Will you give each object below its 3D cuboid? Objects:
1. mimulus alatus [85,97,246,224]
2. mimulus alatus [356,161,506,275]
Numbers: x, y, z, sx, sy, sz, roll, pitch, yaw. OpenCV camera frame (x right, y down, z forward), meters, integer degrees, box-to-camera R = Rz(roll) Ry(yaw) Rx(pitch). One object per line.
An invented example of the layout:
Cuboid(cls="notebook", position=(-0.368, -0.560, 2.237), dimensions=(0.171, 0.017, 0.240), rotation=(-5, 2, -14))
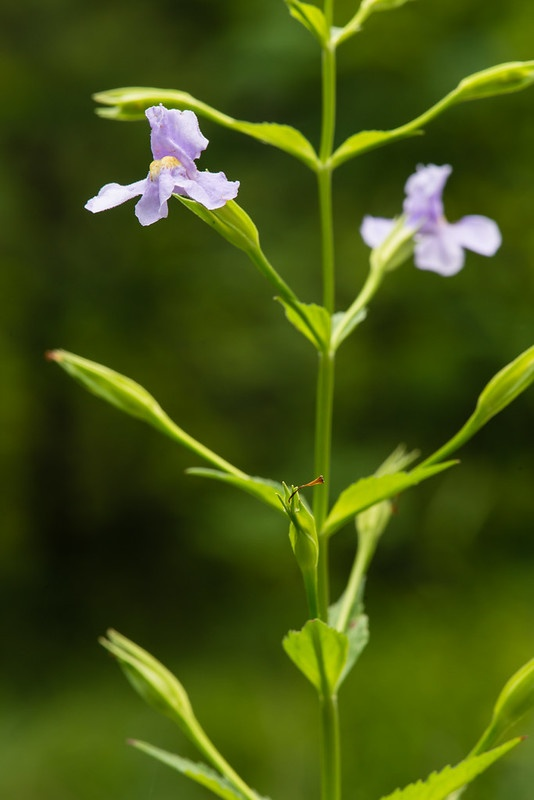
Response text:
Cuboid(cls="mimulus alatus", position=(-0.112, -0.227, 0.822), dimensions=(0.133, 0.140, 0.060), rotation=(-18, -56, 16))
Cuboid(cls="mimulus alatus", position=(0.184, -0.196, 0.866), dimensions=(0.086, 0.125, 0.089), rotation=(-19, -55, 15))
